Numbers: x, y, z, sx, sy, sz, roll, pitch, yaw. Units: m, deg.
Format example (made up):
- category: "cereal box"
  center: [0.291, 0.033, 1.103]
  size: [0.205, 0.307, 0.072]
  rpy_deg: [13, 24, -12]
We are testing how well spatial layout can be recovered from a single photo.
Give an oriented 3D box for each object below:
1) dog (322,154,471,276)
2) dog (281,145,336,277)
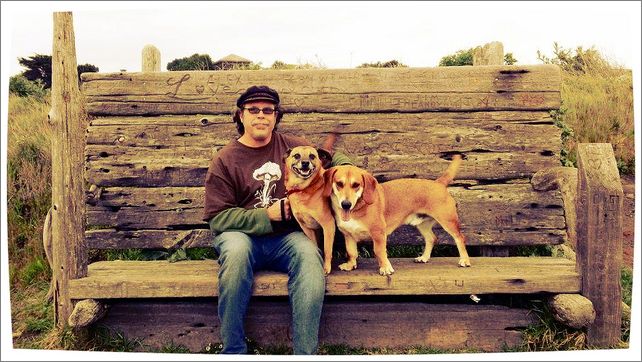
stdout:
- category: "dog"
  center: [1.003, 0.417, 7.556]
  size: [2.462, 1.437, 0.844]
  rpy_deg: [-2, 6, -31]
- category: "dog"
  center: [-0.143, 0.386, 7.202]
  size: [0.551, 1.630, 0.315]
  rpy_deg: [0, -2, -26]
